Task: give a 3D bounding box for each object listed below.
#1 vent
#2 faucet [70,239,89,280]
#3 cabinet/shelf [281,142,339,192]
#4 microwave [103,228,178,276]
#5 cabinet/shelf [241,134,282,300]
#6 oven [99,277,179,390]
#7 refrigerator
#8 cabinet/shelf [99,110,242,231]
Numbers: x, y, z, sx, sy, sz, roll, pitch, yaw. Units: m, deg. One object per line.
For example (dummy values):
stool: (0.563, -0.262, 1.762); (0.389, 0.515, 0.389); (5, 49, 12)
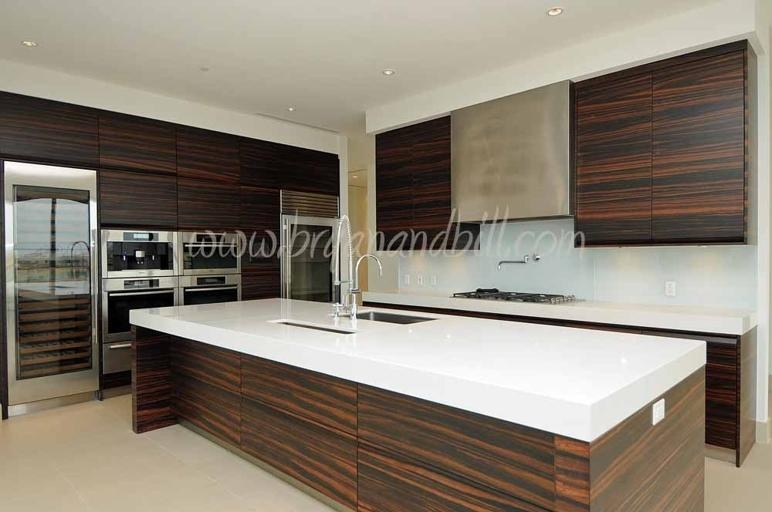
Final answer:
vent: (1.443, -1.107, 5.336); (1.448, 1.247, 0.486); (5, 11, 42)
faucet: (-3.356, 0.048, 5.233); (0.194, 0.413, 0.070); (-6, 12, -30)
cabinet/shelf: (-1.088, -1.258, 7.093); (1.134, 0.696, 0.573); (4, -3, -45)
microwave: (-2.896, -0.030, 5.579); (0.940, 0.610, 0.491); (2, -5, -39)
cabinet/shelf: (-1.744, -0.512, 6.545); (0.717, 2.167, 0.430); (-6, 12, -30)
oven: (-2.911, 0.860, 5.558); (0.826, 1.255, 0.272); (-6, 11, -29)
refrigerator: (-1.159, -0.138, 6.958); (0.983, 1.639, 0.327); (-8, 13, -39)
cabinet/shelf: (-2.687, -1.037, 5.778); (1.752, 1.322, 0.571); (2, -5, -45)
